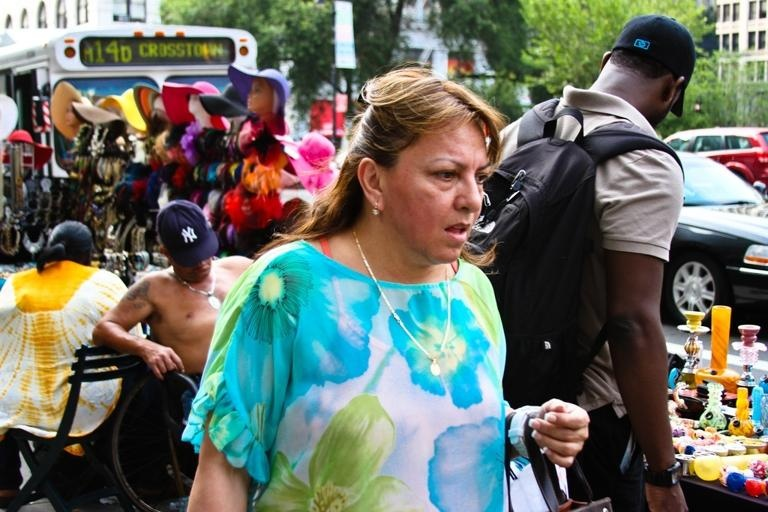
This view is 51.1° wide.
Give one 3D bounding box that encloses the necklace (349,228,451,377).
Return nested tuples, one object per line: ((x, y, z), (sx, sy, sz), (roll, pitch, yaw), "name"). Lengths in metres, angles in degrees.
((0.081, 0.237, 3.229), (0.142, 0.484, 0.601), (-20, -22, 31), "necklace")

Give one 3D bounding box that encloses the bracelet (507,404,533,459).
((0.543, 0.709, 3.289), (0.124, 0.187, 0.062), (0, -6, -29), "bracelet")

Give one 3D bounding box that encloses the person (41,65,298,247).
((-2.064, -0.796, 7.596), (1.123, 1.550, 2.633), (10, 11, 36), "person")

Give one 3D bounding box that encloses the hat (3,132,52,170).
((-4.005, -1.240, 9.160), (0.346, 0.195, 0.477), (1, -17, -4), "hat")

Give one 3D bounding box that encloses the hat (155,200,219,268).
((-1.330, -0.118, 5.494), (0.310, 0.476, 0.285), (-33, -17, -10), "hat")

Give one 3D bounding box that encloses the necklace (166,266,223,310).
((-1.310, 0.261, 5.612), (0.201, 0.412, 0.076), (-32, -9, -48), "necklace")
